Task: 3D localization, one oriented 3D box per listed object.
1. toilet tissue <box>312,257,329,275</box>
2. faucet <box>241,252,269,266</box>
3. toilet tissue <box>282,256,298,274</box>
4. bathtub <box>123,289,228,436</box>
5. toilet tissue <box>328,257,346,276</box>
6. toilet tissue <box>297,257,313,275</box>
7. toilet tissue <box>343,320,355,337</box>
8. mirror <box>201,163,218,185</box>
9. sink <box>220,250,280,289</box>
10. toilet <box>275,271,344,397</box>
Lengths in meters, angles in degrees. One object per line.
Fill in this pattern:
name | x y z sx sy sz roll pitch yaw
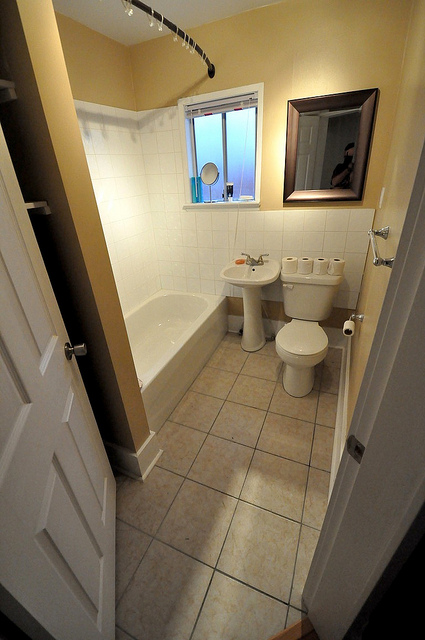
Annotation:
toilet tissue | 0.696 -0.356 2.578 0.086 0.104 0.091 11 28 25
faucet | 0.291 -0.457 2.890 0.216 0.078 0.148 7 33 22
toilet tissue | 0.524 -0.372 2.675 0.087 0.084 0.102 0 21 9
bathtub | -0.412 0.196 2.776 0.640 0.341 1.548 7 26 16
toilet tissue | 0.788 -0.337 2.564 0.111 0.101 0.090 -12 27 -20
toilet tissue | 0.613 -0.377 2.642 0.085 0.112 0.096 9 28 23
toilet tissue | 0.648 0.035 1.884 0.049 0.088 0.086 9 26 24
mirror | -0.018 -1.003 2.737 0.105 0.126 0.024 26 24 35
sink | 0.262 -0.328 2.777 0.260 0.195 0.319 11 38 23
toilet | 0.600 0.087 2.589 0.327 0.677 0.621 6 30 16
